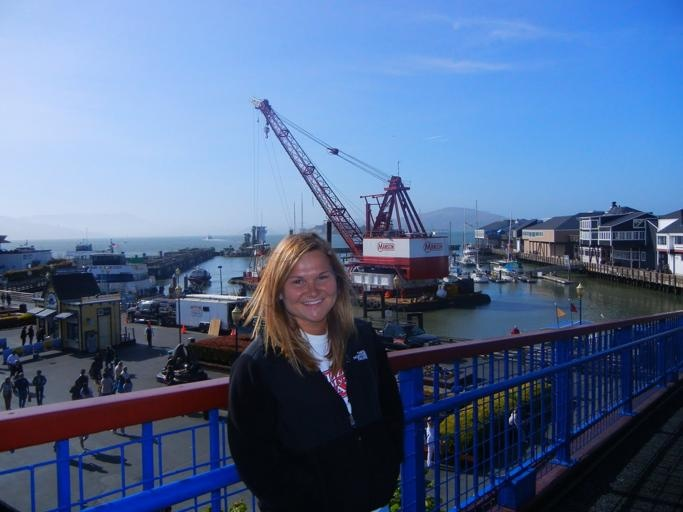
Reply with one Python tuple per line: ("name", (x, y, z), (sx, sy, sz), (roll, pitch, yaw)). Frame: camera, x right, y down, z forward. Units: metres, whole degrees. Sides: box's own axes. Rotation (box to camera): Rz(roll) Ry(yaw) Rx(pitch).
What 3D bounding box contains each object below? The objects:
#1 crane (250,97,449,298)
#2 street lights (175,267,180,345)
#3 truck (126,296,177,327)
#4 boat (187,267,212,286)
("crane", (-0.270, -4.869, 43.053), (13.756, 15.206, 5.595), (2, 13, 13))
("street lights", (0.664, 1.370, 4.021), (0.066, 0.337, 0.030), (5, -9, -33))
("truck", (-11.847, 3.512, 33.539), (4.226, 1.675, 1.570), (3, 1, 32))
("boat", (-19.447, 2.846, 73.538), (1.777, 2.342, 6.841), (-1, -2, -5))
